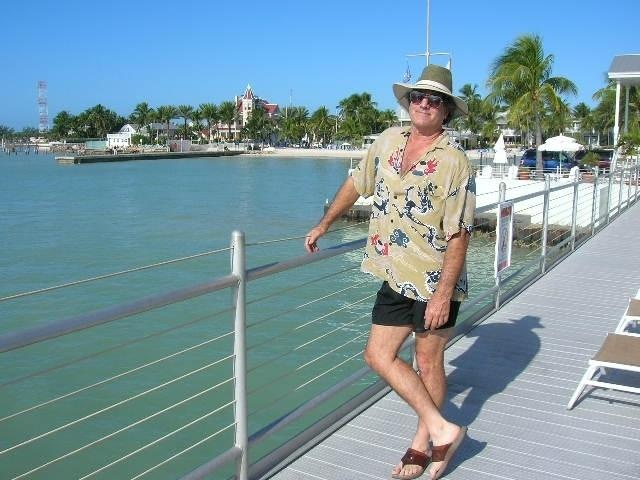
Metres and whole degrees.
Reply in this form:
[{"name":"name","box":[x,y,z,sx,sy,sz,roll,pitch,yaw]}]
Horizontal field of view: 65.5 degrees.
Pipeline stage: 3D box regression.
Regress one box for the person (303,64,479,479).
[{"name":"person","box":[0.484,0.197,2.822,0.698,2.304,0.723,2,12,-6]}]

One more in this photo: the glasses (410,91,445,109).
[{"name":"glasses","box":[0.561,-0.748,2.645,0.190,0.091,0.116,5,12,14]}]
